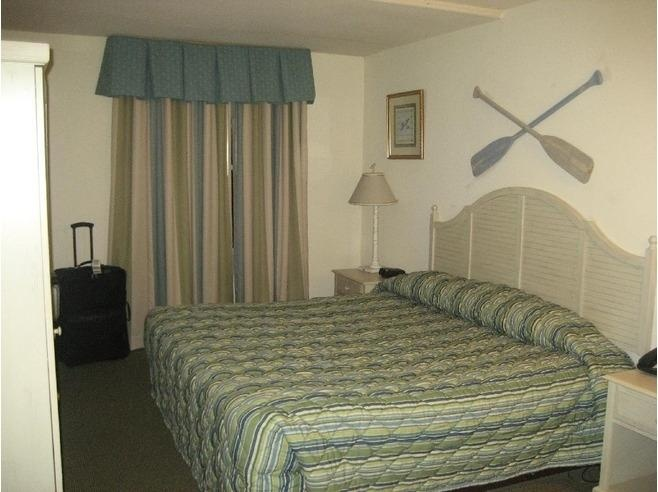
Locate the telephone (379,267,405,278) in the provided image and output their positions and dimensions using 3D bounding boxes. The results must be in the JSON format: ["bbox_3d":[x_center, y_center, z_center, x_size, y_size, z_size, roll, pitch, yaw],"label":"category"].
[{"bbox_3d":[0.586,0.223,5.107,0.096,0.104,0.233,-6,6,-42],"label":"telephone"}]

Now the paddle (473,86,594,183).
[{"bbox_3d":[1.463,-0.834,4.009,0.055,0.226,1.132,-13,44,-39],"label":"paddle"}]
